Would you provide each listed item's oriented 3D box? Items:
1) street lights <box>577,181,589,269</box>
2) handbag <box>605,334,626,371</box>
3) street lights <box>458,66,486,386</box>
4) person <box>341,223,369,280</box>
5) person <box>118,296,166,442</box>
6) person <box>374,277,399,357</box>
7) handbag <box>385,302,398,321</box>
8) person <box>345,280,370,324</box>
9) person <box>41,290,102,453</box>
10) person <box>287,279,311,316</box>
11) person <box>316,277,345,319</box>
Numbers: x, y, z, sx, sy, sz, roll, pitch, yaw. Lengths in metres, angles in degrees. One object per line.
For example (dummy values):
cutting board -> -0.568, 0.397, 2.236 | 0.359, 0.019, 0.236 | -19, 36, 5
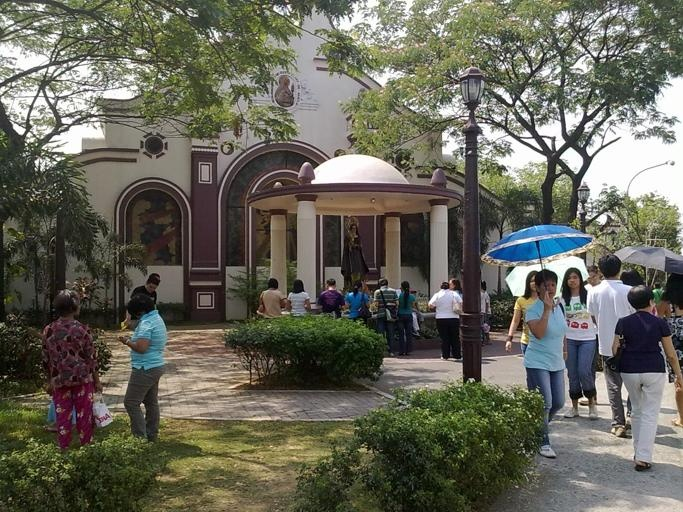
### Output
street lights -> 8.552, -1.139, 22.775 | 0.516, 2.840, 0.478 | -3, 5, -21
handbag -> 3.713, 1.317, 8.697 | 0.126, 0.482, 0.372 | -1, -3, 4
street lights -> 1.945, -0.535, 9.677 | 0.367, 4.767, 0.601 | -2, -3, 22
person -> 0.389, -0.112, 20.219 | 0.765, 1.992, 0.945 | -1, -3, -1
person -> -2.765, 1.563, 8.986 | 0.591, 2.073, 0.817 | 0, -3, -17
person -> 1.198, 1.629, 17.155 | 0.626, 2.010, 1.405 | -1, -3, 3
handbag -> 1.347, 1.422, 17.085 | 0.310, 0.660, 0.506 | 0, 2, -3
person -> 0.433, 1.207, 16.834 | 0.586, 1.077, 1.392 | -1, -3, 2
person -> -3.430, 1.428, 8.183 | 0.676, 1.985, 0.421 | 1, -3, -24
person -> -1.009, 0.979, 15.465 | 0.512, 0.792, 0.639 | 0, -3, -9
person -> -0.263, 1.038, 15.921 | 0.676, 0.909, 0.991 | -1, -3, 11
